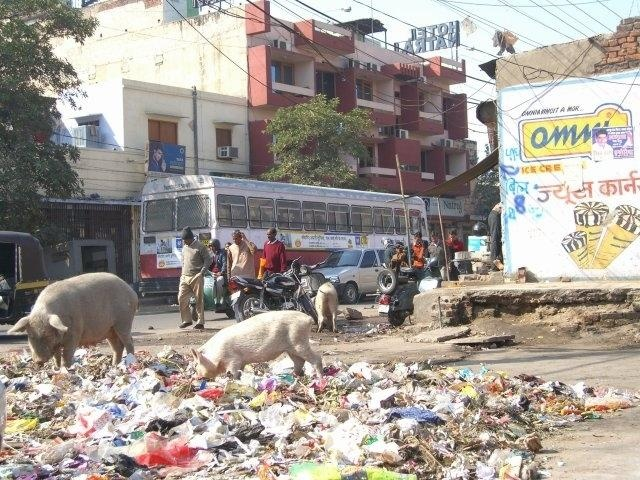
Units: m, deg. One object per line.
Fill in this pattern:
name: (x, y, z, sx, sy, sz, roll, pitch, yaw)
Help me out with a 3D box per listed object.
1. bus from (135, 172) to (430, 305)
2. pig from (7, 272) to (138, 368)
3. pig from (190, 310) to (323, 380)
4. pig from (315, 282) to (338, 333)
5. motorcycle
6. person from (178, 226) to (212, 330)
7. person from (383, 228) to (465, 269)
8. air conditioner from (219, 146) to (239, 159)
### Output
bus: (-0.143, 0.040, 27.236, 10.588, 3.692, 3.330, -1, -1, -42)
pig: (-3.189, 1.200, 11.919, 0.689, 1.381, 2.258, -7, 1, 23)
pig: (-0.772, 1.281, 10.578, 1.529, 0.764, 0.374, -2, 8, -15)
pig: (0.095, 1.225, 17.200, 0.484, 1.059, 1.734, 1, 2, 3)
motorcycle: (-0.909, 1.020, 16.696, 1.513, 1.041, 0.920, -2, -2, -8)
person: (-2.377, 0.696, 16.685, 0.578, 2.028, 0.538, 1, 5, -4)
person: (2.739, 0.292, 21.439, 1.282, 1.076, 1.590, 3, 4, 29)
air conditioner: (-3.555, -3.414, 34.688, 0.663, 0.534, 1.012, 5, 9, 34)
